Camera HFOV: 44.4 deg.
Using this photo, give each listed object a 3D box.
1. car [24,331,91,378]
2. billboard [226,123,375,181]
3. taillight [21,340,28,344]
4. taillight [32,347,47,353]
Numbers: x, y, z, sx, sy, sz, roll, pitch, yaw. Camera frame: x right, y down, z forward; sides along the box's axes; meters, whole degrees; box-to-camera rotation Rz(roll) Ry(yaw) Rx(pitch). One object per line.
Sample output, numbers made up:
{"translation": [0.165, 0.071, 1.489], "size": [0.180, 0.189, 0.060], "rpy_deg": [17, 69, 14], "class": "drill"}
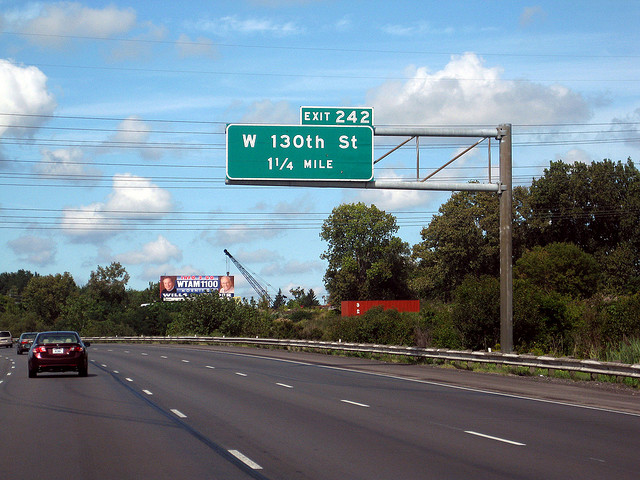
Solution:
{"translation": [-10.009, 4.327, 30.283], "size": [1.433, 1.019, 2.979], "rpy_deg": [0, -1, -9], "class": "car"}
{"translation": [-0.694, -3.396, 29.913], "size": [5.749, 0.287, 2.675], "rpy_deg": [0, -48, -2], "class": "billboard"}
{"translation": [-18.539, 6.356, 48.850], "size": [0.345, 0.235, 0.280], "rpy_deg": [2, -6, -15], "class": "taillight"}
{"translation": [-10.437, 4.083, 29.065], "size": [0.616, 0.188, 0.069], "rpy_deg": [-2, -5, 20], "class": "taillight"}
